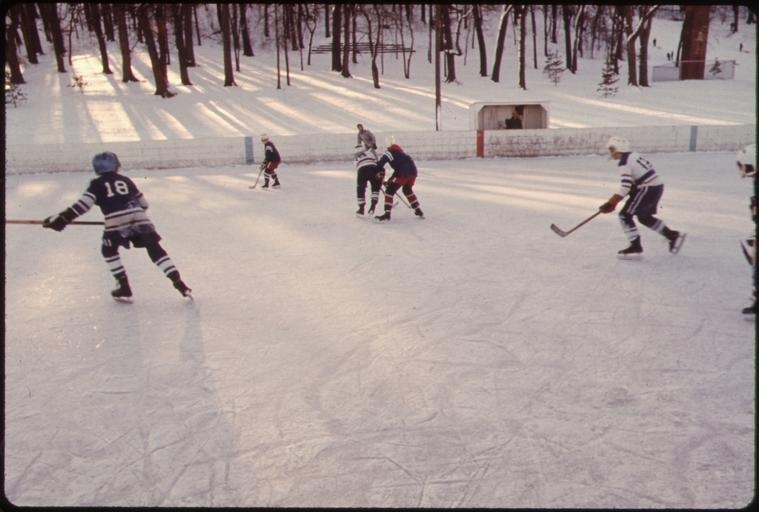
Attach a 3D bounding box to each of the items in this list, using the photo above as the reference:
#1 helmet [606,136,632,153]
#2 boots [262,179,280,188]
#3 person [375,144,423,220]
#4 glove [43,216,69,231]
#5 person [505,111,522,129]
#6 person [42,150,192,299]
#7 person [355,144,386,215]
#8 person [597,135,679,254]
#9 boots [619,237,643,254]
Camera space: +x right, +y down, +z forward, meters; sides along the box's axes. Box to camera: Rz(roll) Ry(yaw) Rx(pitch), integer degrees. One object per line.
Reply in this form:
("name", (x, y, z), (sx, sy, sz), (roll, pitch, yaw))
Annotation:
("helmet", (3.507, -1.625, 10.165), (0.282, 0.222, 0.194), (0, 18, 8))
("boots", (-2.609, -1.734, 16.921), (0.556, 0.171, 0.378), (0, 3, 3))
("person", (0.299, -1.501, 13.338), (0.961, 1.459, 0.912), (-1, 5, -21))
("glove", (-4.164, -0.410, 8.867), (0.288, 0.213, 0.178), (5, 20, 25))
("person", (4.311, -4.429, 22.339), (0.604, 0.610, 1.435), (0, 17, 10))
("person", (-3.383, -0.371, 9.128), (1.583, 1.935, 0.507), (-4, 18, -2))
("person", (-0.186, -1.532, 13.468), (0.583, 0.429, 1.416), (1, 58, -6))
("person", (3.829, -0.851, 10.178), (1.107, 1.742, 0.528), (2, 19, 15))
("boots", (3.820, -0.143, 10.431), (0.416, 0.281, 0.177), (3, 13, 26))
